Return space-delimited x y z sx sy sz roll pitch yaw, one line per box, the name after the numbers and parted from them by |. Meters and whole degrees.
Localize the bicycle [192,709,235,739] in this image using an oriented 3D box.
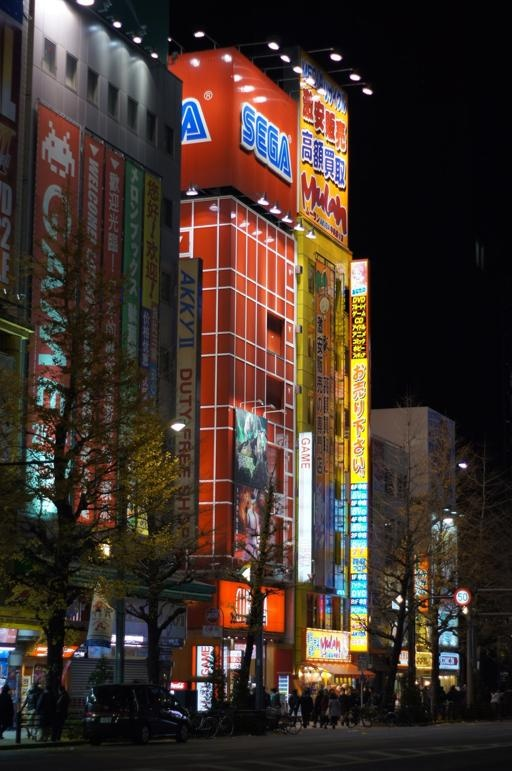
-1.089 8.770 30.677 0.973 0.614 0.485 7 -13 -40 | bicycle

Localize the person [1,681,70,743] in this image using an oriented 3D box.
-4.728 7.101 25.802 1.147 1.195 2.053 11 -20 -36 | person

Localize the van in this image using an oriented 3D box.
-2.439 7.428 26.853 1.326 1.256 3.761 -9 -18 27 | van

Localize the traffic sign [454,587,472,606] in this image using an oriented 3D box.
7.766 8.026 45.268 0.602 0.709 2.098 -3 -17 9 | traffic sign
